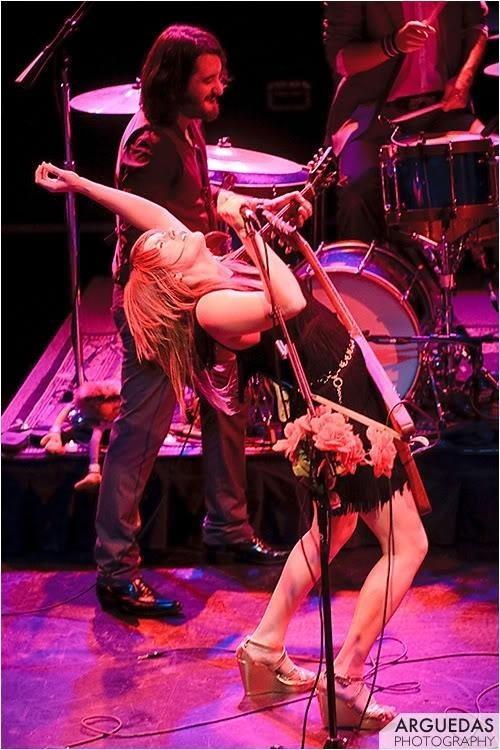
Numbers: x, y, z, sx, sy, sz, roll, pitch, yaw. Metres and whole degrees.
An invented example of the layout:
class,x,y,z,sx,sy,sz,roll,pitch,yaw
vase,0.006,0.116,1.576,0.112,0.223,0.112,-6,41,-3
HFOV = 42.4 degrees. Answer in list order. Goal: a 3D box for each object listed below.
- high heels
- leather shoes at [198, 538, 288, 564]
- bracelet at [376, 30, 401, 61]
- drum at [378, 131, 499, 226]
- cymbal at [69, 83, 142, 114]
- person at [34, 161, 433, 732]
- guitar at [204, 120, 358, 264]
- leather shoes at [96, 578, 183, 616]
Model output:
class,x,y,z,sx,sy,sz,roll,pitch,yaw
high heels,0.107,0.597,1.244,0.325,0.122,0.126,9,-3,14
leather shoes,-0.020,0.570,2.205,0.295,0.119,0.105,-2,4,0
bracelet,0.548,-1.272,2.515,0.086,0.095,0.098,-16,1,34
drum,0.717,-0.731,2.400,0.388,0.234,0.371,-8,22,3
cymbal,-0.506,-1.007,2.350,0.342,0.013,0.324,-3,33,-2
person,-0.002,0.120,1.293,0.378,1.090,0.608,-6,5,-44
guitar,0.192,-0.555,1.858,0.457,0.134,0.962,-3,27,14
leather shoes,-0.317,0.641,1.887,0.292,0.120,0.095,-1,-7,22
